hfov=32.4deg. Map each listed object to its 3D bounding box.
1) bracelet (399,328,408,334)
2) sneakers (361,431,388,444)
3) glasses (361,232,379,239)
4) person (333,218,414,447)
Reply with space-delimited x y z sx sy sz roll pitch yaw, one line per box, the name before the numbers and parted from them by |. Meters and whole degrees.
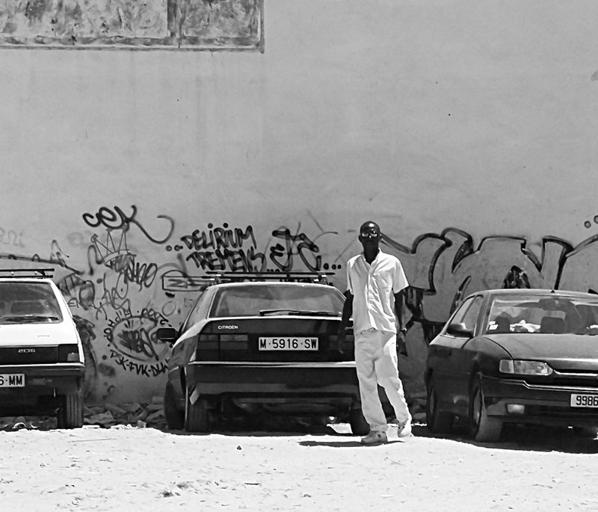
bracelet | 1.030 0.749 10.138 0.059 0.063 0.081 -1 6 16
sneakers | 0.753 1.817 10.283 0.286 0.130 0.107 1 -1 -16
glasses | 0.710 -0.202 10.279 0.197 0.071 0.146 0 -2 0
person | 0.763 0.776 10.277 0.716 2.205 0.308 0 -1 2
